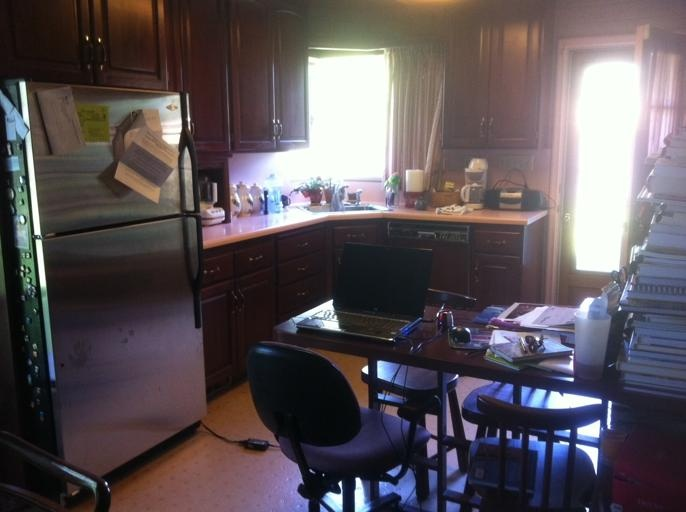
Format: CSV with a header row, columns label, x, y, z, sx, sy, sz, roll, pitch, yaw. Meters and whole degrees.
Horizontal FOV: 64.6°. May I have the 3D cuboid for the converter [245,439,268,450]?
label,x,y,z,sx,sy,sz,roll,pitch,yaw
converter,-0.499,1.066,3.102,0.101,0.032,0.059,6,2,7

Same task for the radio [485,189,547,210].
label,x,y,z,sx,sy,sz,roll,pitch,yaw
radio,1.474,-0.518,4.682,0.365,0.140,0.231,3,12,20

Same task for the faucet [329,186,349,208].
label,x,y,z,sx,sy,sz,roll,pitch,yaw
faucet,-0.016,-0.551,5.008,0.106,0.204,0.352,4,16,15

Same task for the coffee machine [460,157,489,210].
label,x,y,z,sx,sy,sz,roll,pitch,yaw
coffee machine,1.171,-0.641,4.809,0.182,0.409,0.298,7,16,25

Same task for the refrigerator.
label,x,y,z,sx,sy,sz,roll,pitch,yaw
refrigerator,-1.171,0.103,2.743,0.323,1.877,0.968,9,17,33

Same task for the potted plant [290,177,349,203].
label,x,y,z,sx,sy,sz,roll,pitch,yaw
potted plant,-0.210,-0.618,5.111,0.318,0.180,0.349,-4,10,-20

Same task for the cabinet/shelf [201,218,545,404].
label,x,y,z,sx,sy,sz,roll,pitch,yaw
cabinet/shelf,-0.037,0.113,4.057,1.564,0.747,1.677,5,12,26

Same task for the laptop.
label,x,y,z,sx,sy,sz,roll,pitch,yaw
laptop,0.093,0.136,2.348,0.472,0.326,0.445,3,9,31

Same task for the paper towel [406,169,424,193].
label,x,y,z,sx,sy,sz,roll,pitch,yaw
paper towel,0.680,-0.698,5.070,0.181,0.196,0.176,1,15,5

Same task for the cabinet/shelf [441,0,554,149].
label,x,y,z,sx,sy,sz,roll,pitch,yaw
cabinet/shelf,1.327,-1.511,4.498,0.949,1.456,0.499,8,14,24

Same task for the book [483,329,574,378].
label,x,y,z,sx,sy,sz,roll,pitch,yaw
book,0.717,0.345,2.088,0.312,0.061,0.322,5,16,18
